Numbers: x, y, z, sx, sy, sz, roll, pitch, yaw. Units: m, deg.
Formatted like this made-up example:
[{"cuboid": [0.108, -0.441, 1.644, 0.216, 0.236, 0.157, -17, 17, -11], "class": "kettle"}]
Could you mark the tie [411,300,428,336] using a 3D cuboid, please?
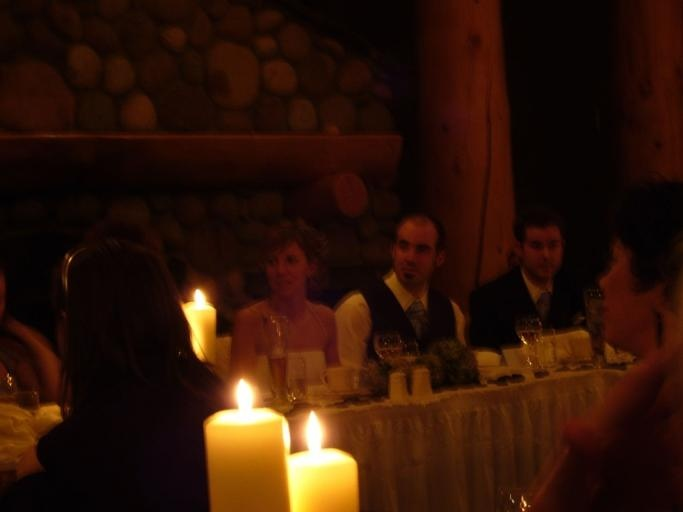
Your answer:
[{"cuboid": [0.436, 0.346, 3.593, 0.097, 0.191, 0.049, 1, -3, -40], "class": "tie"}]

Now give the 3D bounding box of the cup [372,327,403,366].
[{"cuboid": [0.191, 0.365, 2.637, 0.104, 0.136, 0.114, 2, -8, 0], "class": "cup"}]

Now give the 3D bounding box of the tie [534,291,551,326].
[{"cuboid": [1.179, 0.303, 3.793, 0.049, 0.198, 0.123, 5, -3, 41], "class": "tie"}]

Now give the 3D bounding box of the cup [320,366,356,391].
[{"cuboid": [-0.001, 0.489, 2.552, 0.092, 0.078, 0.085, 0, -6, 0], "class": "cup"}]

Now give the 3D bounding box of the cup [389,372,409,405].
[{"cuboid": [0.213, 0.514, 2.472, 0.084, 0.140, 0.093, 0, -4, 0], "class": "cup"}]
